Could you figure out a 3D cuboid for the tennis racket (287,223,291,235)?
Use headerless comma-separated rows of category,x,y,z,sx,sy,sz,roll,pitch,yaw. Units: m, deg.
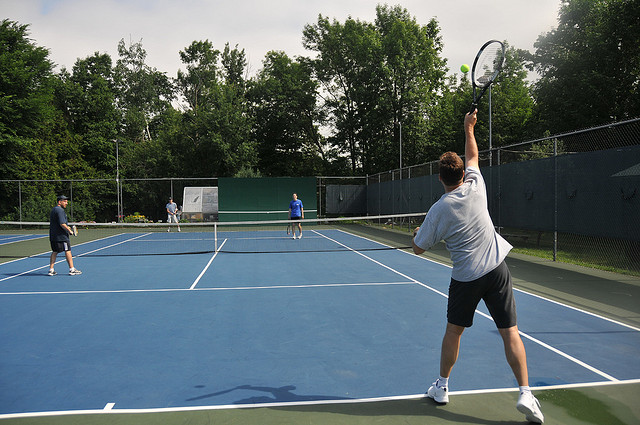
tennis racket,-1.677,0.878,25.802,0.210,0.754,0.166,-10,38,-20

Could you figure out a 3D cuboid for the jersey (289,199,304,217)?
jersey,-1.113,-0.192,22.039,0.440,0.775,0.380,0,4,0

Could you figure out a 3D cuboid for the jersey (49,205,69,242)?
jersey,-7.422,0.323,13.640,0.476,1.009,0.332,-2,4,-21

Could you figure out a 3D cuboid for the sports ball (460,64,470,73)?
sports ball,2.725,-2.721,9.046,0.138,0.128,0.293,1,3,17

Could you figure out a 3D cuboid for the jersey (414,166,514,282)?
jersey,2.087,0.268,7.051,1.263,1.474,0.314,0,4,9

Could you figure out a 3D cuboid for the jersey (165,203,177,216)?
jersey,-8.462,-0.175,27.318,0.380,0.709,0.911,-1,3,-18

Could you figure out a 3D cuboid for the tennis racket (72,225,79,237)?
tennis racket,-9.246,0.697,18.185,0.172,0.639,0.180,5,-40,-39
